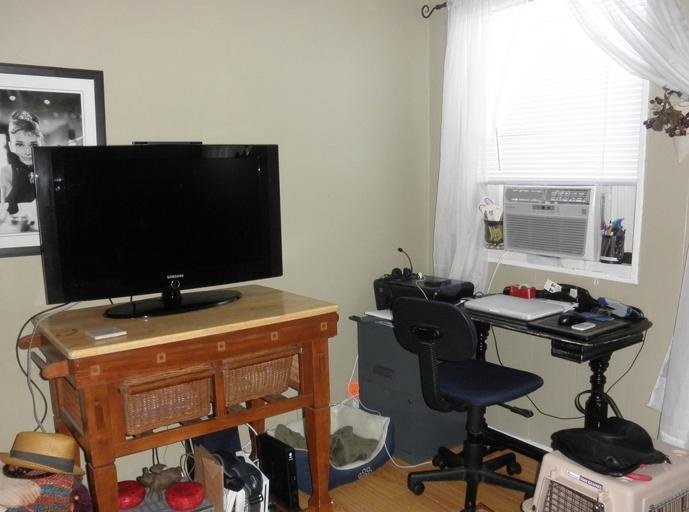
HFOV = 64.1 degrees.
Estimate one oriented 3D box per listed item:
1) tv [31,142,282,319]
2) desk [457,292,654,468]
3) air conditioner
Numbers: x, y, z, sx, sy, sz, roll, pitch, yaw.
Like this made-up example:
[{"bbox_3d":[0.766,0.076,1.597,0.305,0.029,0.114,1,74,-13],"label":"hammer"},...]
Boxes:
[{"bbox_3d":[-0.922,-0.129,2.602,0.797,0.591,0.219,-5,9,-31],"label":"tv"},{"bbox_3d":[1.111,0.633,2.855,0.557,0.807,0.868,-8,12,-37],"label":"desk"},{"bbox_3d":[1.233,-0.181,3.121,0.410,0.519,0.714,-6,8,-44],"label":"air conditioner"}]
